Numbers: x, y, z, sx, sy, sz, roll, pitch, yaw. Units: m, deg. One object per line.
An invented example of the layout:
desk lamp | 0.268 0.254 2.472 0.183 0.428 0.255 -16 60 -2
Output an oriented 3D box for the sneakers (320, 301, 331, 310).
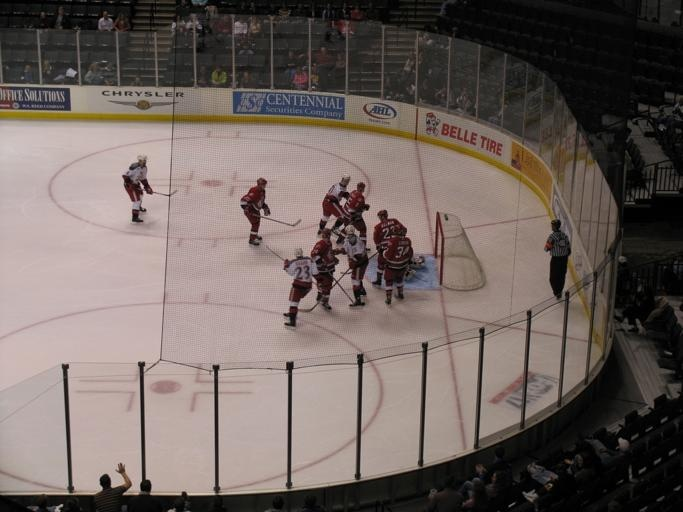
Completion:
sneakers | -0.272 0.961 19.759 0.209 0.128 0.103 27 39 19

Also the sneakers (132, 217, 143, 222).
sneakers | -4.578 -0.841 22.933 0.228 0.146 0.076 -8 37 -21

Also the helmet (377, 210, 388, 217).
helmet | 0.819 -0.888 20.590 0.142 0.148 0.180 17 42 24

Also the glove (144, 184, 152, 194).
glove | -4.362 -1.512 23.073 0.119 0.265 0.109 -7 52 -9

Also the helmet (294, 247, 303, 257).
helmet | -0.794 -0.084 18.880 0.133 0.118 0.163 -5 27 -10

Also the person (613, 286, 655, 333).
person | 5.489 1.005 19.051 0.733 0.913 0.410 12 15 16
